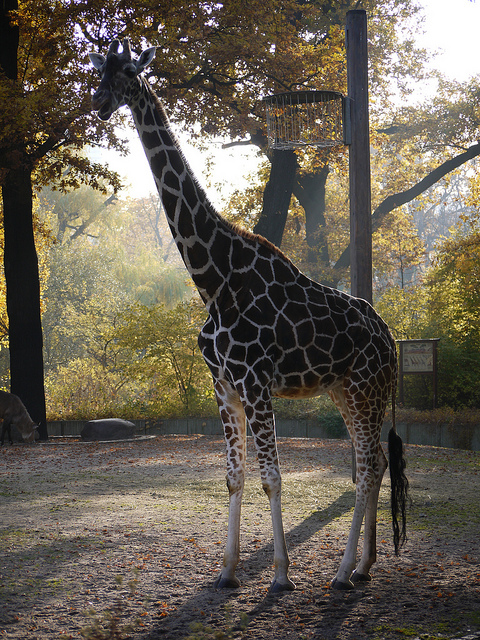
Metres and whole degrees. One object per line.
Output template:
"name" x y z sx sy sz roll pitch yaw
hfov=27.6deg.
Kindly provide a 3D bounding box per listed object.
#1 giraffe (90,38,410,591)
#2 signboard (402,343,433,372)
"giraffe" 0.181 -0.079 8.281 2.393 4.524 0.806 -1 -3 -3
"signboard" 3.345 0.695 18.123 0.062 0.447 0.547 6 -1 -40
